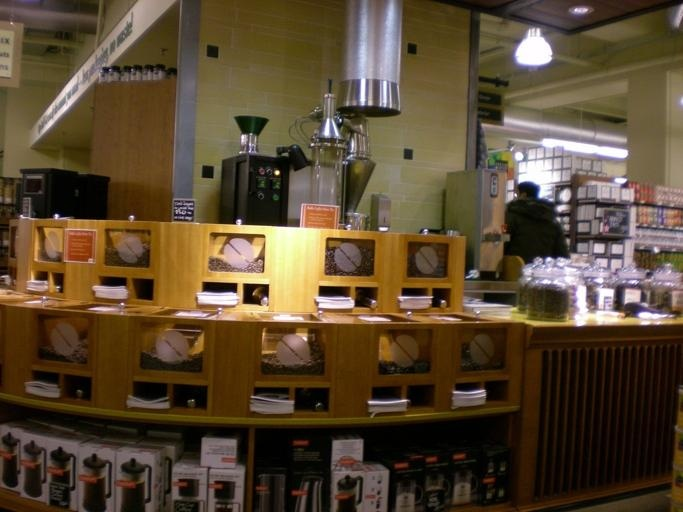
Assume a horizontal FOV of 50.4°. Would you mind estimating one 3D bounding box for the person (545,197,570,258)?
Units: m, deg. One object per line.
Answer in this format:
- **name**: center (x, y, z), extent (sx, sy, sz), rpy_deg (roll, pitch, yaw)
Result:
- **person**: center (2.240, -0.269, 7.594), extent (0.214, 0.657, 1.421), rpy_deg (0, -3, 16)
